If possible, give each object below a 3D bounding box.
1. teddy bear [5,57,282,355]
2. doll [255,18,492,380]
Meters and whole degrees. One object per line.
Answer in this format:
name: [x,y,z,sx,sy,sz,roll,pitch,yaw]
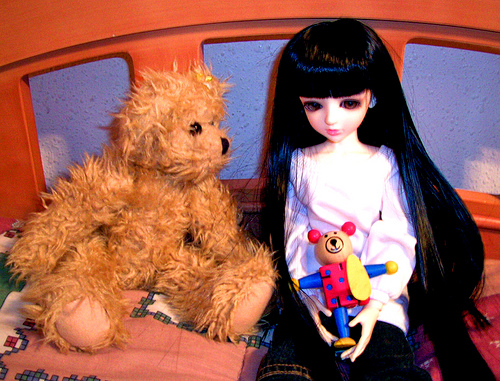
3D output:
teddy bear: [-0.313,0.052,1.480,0.827,0.868,0.576,0,23,-35]
doll: [0.396,0.019,1.302,0.715,0.909,0.531,2,26,2]
